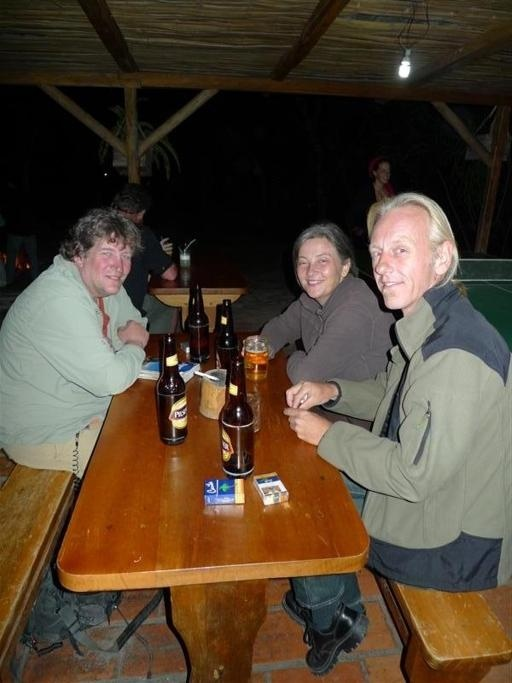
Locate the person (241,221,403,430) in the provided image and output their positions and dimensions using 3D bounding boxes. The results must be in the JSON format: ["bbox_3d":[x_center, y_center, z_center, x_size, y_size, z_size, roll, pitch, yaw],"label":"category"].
[{"bbox_3d":[0.304,-0.030,2.445,0.675,0.898,0.538,2,20,18],"label":"person"}]
